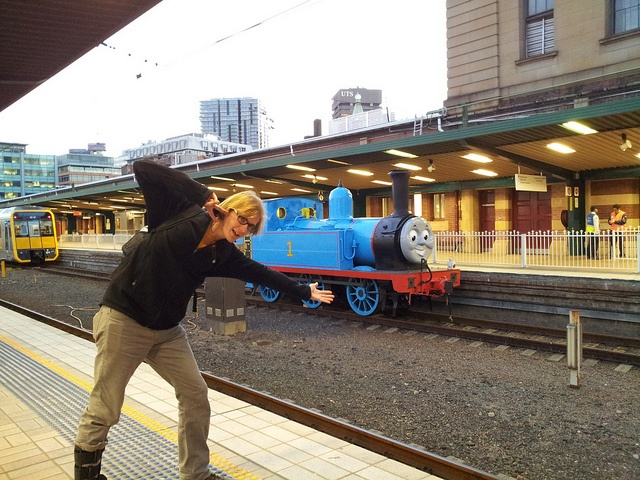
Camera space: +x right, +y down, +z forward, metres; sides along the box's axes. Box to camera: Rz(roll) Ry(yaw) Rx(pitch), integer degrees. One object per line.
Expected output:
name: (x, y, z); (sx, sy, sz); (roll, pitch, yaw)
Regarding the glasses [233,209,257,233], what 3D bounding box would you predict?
glasses: (-0.628, -0.145, 3.902); (0.199, 0.057, 0.194); (33, 11, -49)
